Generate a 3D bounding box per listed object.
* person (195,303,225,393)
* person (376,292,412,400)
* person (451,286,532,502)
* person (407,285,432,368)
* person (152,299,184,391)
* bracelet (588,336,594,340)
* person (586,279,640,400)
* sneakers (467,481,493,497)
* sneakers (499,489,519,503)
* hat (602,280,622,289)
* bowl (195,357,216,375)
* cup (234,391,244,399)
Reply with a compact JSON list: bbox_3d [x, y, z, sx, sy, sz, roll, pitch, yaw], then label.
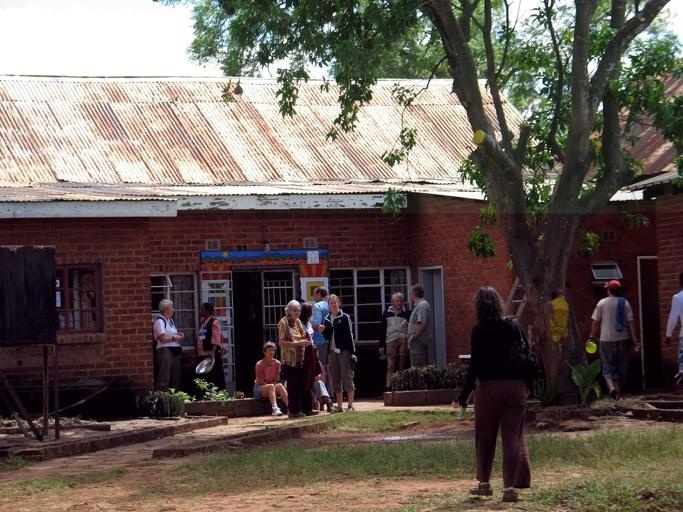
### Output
[{"bbox_3d":[-2.595,1.763,22.101,0.506,1.692,0.644,-2,-6,-8],"label":"person"},{"bbox_3d":[1.085,1.710,22.591,0.621,1.811,0.913,-3,-6,5],"label":"person"},{"bbox_3d":[1.901,1.654,13.613,0.840,2.576,0.361,-4,-5,7],"label":"person"},{"bbox_3d":[1.520,1.401,22.069,0.472,1.587,1.000,-3,-6,3],"label":"person"},{"bbox_3d":[-3.333,1.695,21.519,0.565,1.717,0.630,-2,-6,-10],"label":"person"},{"bbox_3d":[4.517,1.477,20.283,0.078,0.051,0.094,4,-5,-6],"label":"bracelet"},{"bbox_3d":[4.906,1.458,20.026,0.857,2.093,1.204,-3,-6,-1],"label":"person"},{"bbox_3d":[1.691,2.822,13.545,0.143,0.118,0.259,0,3,-26],"label":"sneakers"},{"bbox_3d":[2.003,2.850,13.381,0.187,0.206,0.121,-1,-2,2],"label":"sneakers"},{"bbox_3d":[4.891,0.519,20.302,0.277,0.174,0.456,-1,0,0],"label":"hat"},{"bbox_3d":[-2.626,2.116,21.778,0.326,0.334,0.528,-8,-8,40],"label":"bowl"},{"bbox_3d":[-1.965,2.651,21.416,0.187,0.140,0.134,0,-1,5],"label":"cup"}]
